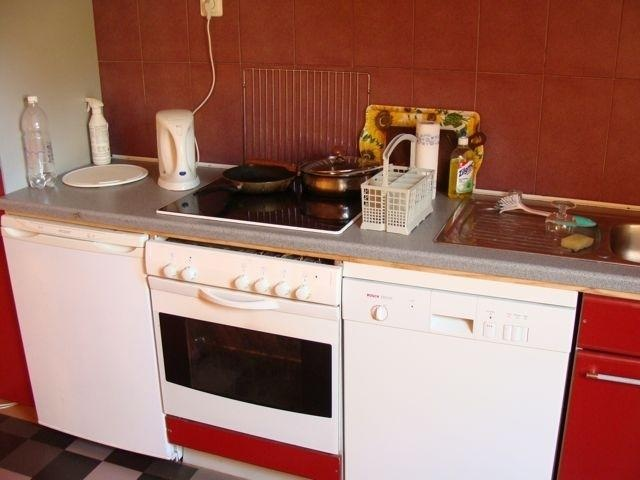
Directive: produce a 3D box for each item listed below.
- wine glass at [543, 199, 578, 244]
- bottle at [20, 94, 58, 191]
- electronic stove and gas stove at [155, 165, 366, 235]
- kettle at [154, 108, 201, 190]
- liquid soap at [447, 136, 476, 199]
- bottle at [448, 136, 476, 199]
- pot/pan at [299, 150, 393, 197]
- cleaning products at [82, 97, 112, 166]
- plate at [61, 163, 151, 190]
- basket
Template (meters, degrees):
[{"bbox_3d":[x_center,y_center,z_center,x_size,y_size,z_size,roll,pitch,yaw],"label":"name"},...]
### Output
[{"bbox_3d":[0.802,-0.067,1.764,0.131,0.183,0.131,5,20,27],"label":"wine glass"},{"bbox_3d":[-1.151,-0.394,2.122,0.116,0.344,0.153,-12,24,-28],"label":"bottle"},{"bbox_3d":[-0.139,-0.251,2.077,0.712,0.177,0.723,5,21,13],"label":"electronic stove and gas stove"},{"bbox_3d":[-0.565,-0.356,2.157,0.153,0.325,0.169,15,25,24],"label":"kettle"},{"bbox_3d":[0.520,-0.266,1.967,0.087,0.222,0.091,8,25,20],"label":"liquid soap"},{"bbox_3d":[0.514,-0.275,1.965,0.088,0.226,0.086,0,15,0],"label":"bottle"},{"bbox_3d":[0.077,-0.307,2.057,0.336,0.145,0.285,-11,23,-19],"label":"pot/pan"},{"bbox_3d":[-1.027,-0.508,2.432,0.100,0.294,0.193,-9,23,-21],"label":"cleaning products"},{"bbox_3d":[-0.940,-0.280,2.264,0.354,0.024,0.319,20,30,40],"label":"plate"},{"bbox_3d":[0.272,-0.182,1.801,0.168,0.290,0.301,8,24,23],"label":"basket"}]
